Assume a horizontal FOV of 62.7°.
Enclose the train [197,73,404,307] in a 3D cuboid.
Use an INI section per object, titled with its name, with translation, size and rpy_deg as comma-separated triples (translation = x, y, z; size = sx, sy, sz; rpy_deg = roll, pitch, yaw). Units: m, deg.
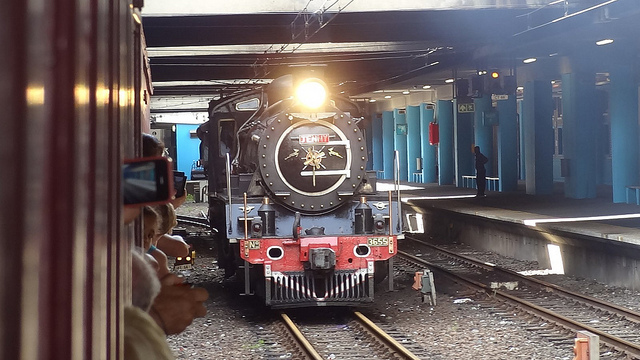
[train]
translation = -0.458, 0.235, 10.168
size = 2.864, 4.593, 2.867
rpy_deg = -2, 2, -17
